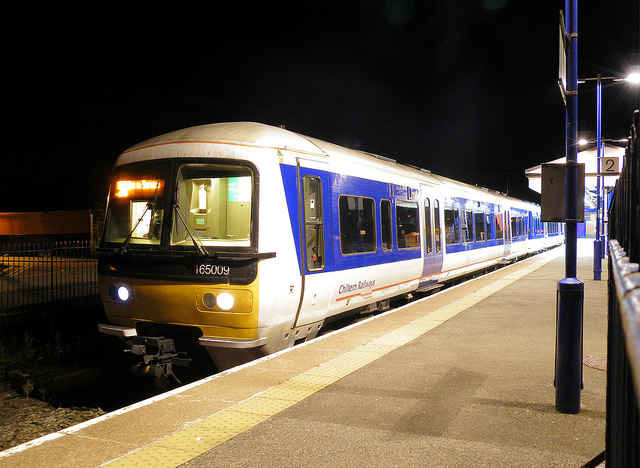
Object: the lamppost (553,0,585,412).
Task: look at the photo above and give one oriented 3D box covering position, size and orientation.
[{"bbox_3d":[2.647,-0.290,4.992,0.283,4.376,0.562,2,3,29],"label":"lamppost"}]
